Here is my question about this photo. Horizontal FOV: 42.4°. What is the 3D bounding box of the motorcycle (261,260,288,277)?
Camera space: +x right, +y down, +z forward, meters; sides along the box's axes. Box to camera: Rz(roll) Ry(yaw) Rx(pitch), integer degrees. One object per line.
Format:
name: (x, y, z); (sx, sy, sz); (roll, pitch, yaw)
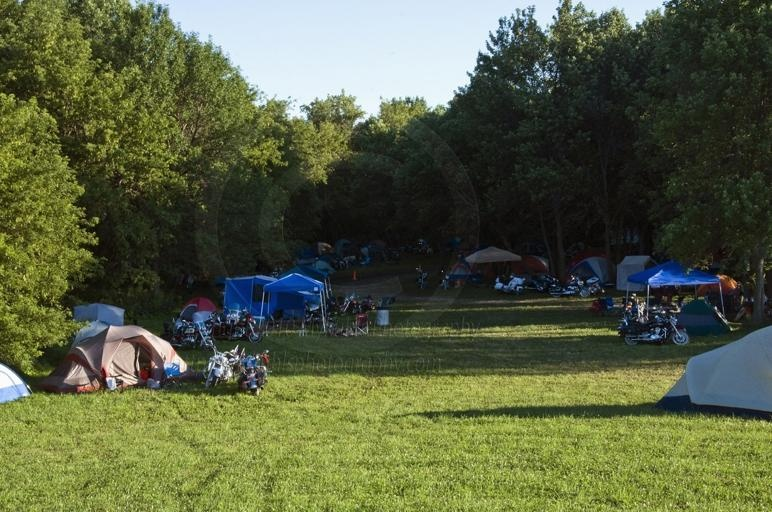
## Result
motorcycle: (-7.175, 0.823, 65.703); (1.555, 0.963, 1.560); (-3, 4, -34)

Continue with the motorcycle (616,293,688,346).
motorcycle: (12.837, 3.297, 48.321); (3.002, 1.960, 1.694); (2, 1, -3)

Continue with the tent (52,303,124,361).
tent: (-14.077, 4.230, 47.245); (3.208, 2.110, 2.863); (9, 1, 6)

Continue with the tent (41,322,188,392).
tent: (-11.580, 4.481, 42.678); (5.235, 2.352, 1.374); (2, -1, -23)

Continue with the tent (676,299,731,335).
tent: (15.652, 3.117, 49.093); (1.798, 0.984, 1.895); (-4, 9, -3)

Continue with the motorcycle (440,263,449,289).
motorcycle: (4.042, 1.408, 68.967); (0.607, 1.561, 0.816); (-4, -11, 13)

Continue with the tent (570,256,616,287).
tent: (13.994, 0.931, 67.830); (2.005, 1.519, 2.120); (1, -2, -12)

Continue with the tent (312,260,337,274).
tent: (-3.970, 0.663, 64.357); (0.968, 0.479, 1.022); (6, 8, 2)

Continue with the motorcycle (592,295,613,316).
motorcycle: (12.004, 2.716, 54.895); (1.139, 1.176, 0.861); (9, -9, -11)

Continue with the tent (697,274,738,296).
tent: (18.748, 1.659, 55.865); (1.340, 0.746, 1.557); (0, -8, 14)
